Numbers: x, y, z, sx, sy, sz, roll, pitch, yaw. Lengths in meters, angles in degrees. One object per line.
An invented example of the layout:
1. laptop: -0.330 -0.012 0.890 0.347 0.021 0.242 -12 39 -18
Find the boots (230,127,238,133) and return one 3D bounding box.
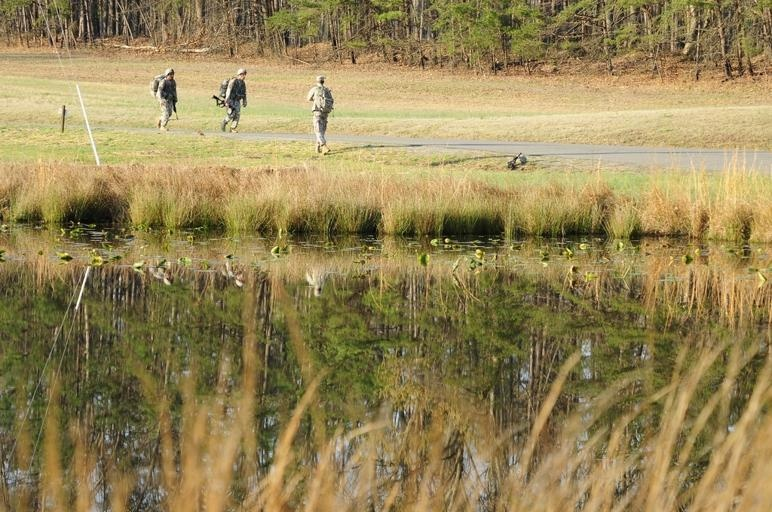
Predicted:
1. boots: -7.100 -5.772 68.609 0.177 0.324 0.308 -1 -9 18

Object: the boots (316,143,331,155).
1. boots: -2.768 -4.584 64.327 0.225 0.613 0.639 1 -29 -37
